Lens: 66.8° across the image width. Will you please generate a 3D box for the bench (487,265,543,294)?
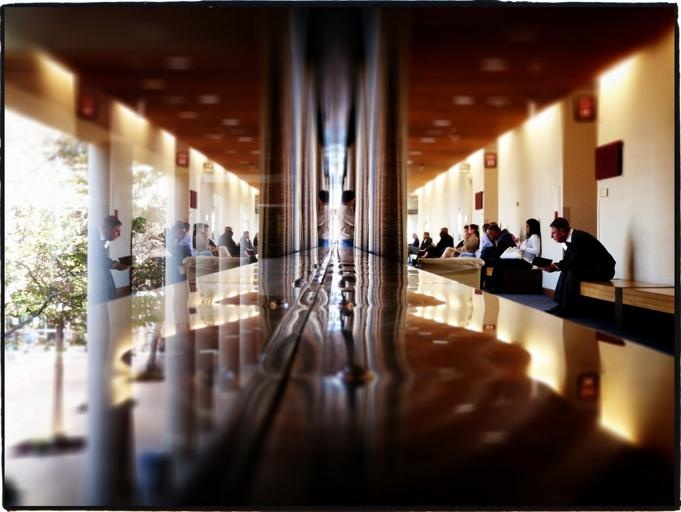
[{"bbox_3d":[0.991,0.134,2.976,0.224,0.139,0.313,1,-3,-2],"label":"bench"}]
